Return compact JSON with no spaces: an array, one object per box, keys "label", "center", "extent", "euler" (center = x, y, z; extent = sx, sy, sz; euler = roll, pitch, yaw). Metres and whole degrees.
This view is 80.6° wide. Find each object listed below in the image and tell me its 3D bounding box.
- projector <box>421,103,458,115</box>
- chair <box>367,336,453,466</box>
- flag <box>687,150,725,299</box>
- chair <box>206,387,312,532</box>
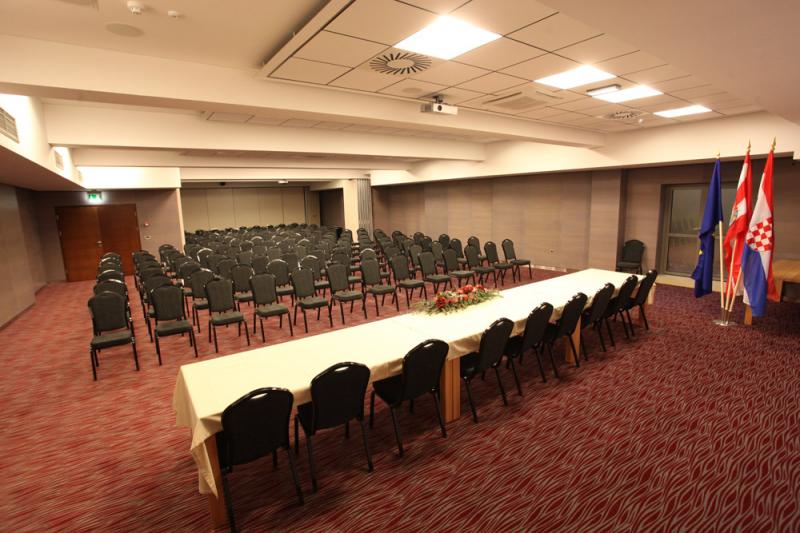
[{"label":"projector","center":[0.680,-2.755,8.199],"extent":[0.683,0.185,0.223],"euler":[-6,14,-20]},{"label":"chair","center":[0.128,1.568,6.196],"extent":[0.959,1.439,0.744],"euler":[-9,15,-28]},{"label":"flag","center":[5.943,-0.650,9.091],"extent":[0.346,2.713,0.667],"euler":[8,17,35]},{"label":"chair","center":[-1.629,2.072,5.380],"extent":[0.875,1.568,0.611],"euler":[-7,15,-20]}]
